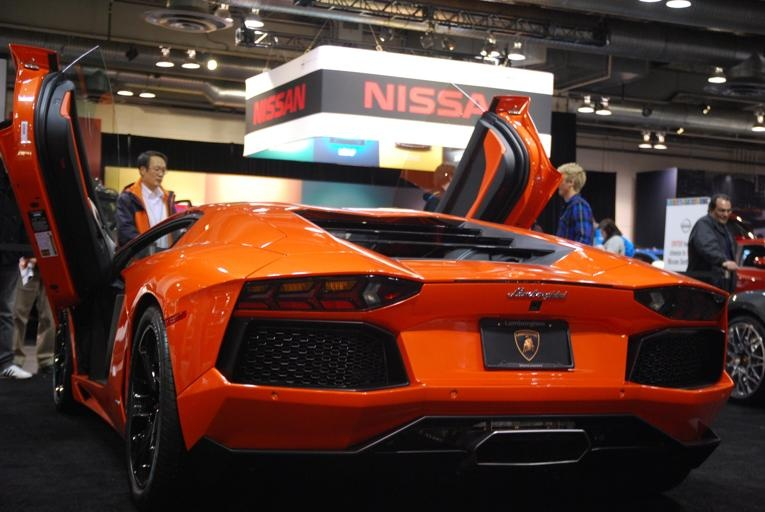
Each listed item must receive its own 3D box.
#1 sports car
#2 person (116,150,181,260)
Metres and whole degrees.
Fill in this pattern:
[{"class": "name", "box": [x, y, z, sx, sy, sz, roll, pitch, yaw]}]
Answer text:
[{"class": "sports car", "box": [-0.421, 0.348, 4.397, 2.776, 1.771, 3.787, 2, 3, -19]}, {"class": "person", "box": [-2.407, -0.506, 6.928, 0.748, 1.171, 0.635, 3, -3, -43]}]
